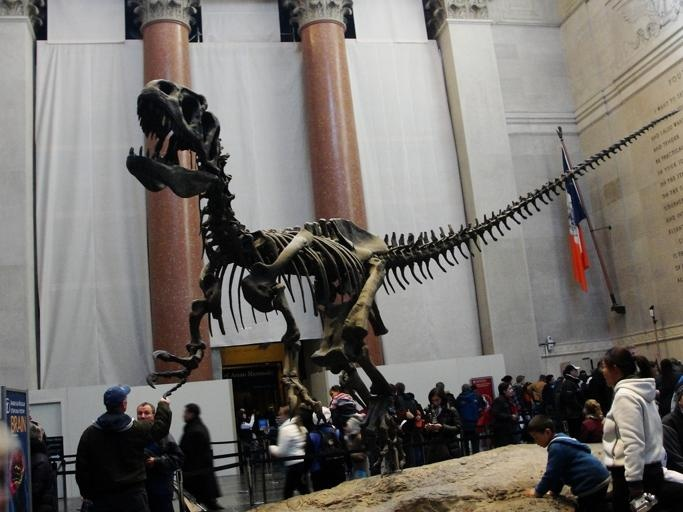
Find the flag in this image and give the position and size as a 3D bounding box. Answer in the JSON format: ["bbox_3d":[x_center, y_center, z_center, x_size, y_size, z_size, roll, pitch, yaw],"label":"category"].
[{"bbox_3d":[5.956,-1.038,17.284,0.493,3.795,1.406,-9,-11,18],"label":"flag"}]

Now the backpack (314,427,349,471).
[{"bbox_3d":[-0.131,2.330,8.249,0.461,0.652,0.372,3,-36,-13],"label":"backpack"}]
